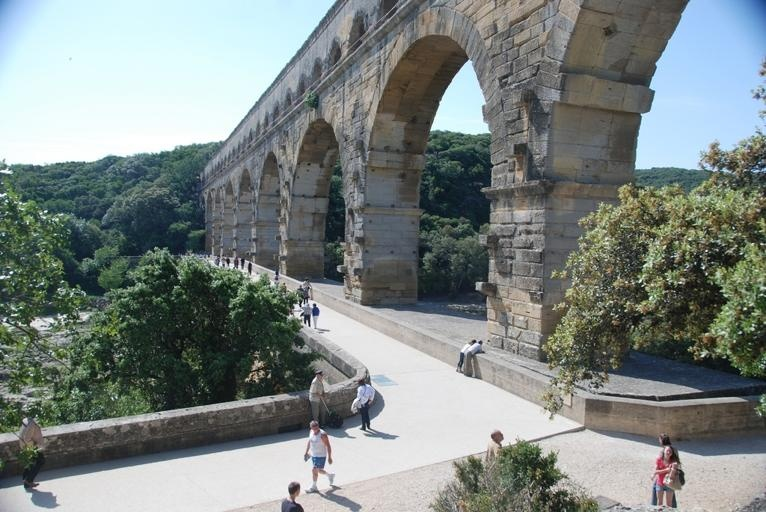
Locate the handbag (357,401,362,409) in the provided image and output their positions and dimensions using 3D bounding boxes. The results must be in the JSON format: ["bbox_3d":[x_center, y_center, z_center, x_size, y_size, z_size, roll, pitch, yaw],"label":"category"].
[{"bbox_3d":[-0.475,2.893,11.817,0.066,0.115,0.177,2,0,-8],"label":"handbag"}]

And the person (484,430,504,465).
[{"bbox_3d":[1.625,2.801,9.005,0.212,0.420,0.979,2,0,11],"label":"person"}]

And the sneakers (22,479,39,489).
[{"bbox_3d":[-5.654,3.706,9.889,0.270,0.105,0.097,9,14,-35],"label":"sneakers"}]

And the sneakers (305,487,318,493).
[{"bbox_3d":[-1.141,3.768,9.824,0.161,0.068,0.088,7,-11,-12],"label":"sneakers"}]

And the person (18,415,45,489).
[{"bbox_3d":[-5.720,3.216,9.984,0.380,0.844,0.595,2,0,-29],"label":"person"}]

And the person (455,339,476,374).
[{"bbox_3d":[1.925,2.361,14.424,0.230,0.792,0.379,14,9,-38],"label":"person"}]

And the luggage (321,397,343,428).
[{"bbox_3d":[-1.008,3.117,12.061,0.519,0.513,0.376,-3,0,41],"label":"luggage"}]

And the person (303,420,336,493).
[{"bbox_3d":[-1.066,3.267,10.209,0.490,1.002,0.799,2,0,-6],"label":"person"}]

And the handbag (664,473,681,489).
[{"bbox_3d":[4.205,3.312,8.926,0.245,0.234,0.062,2,0,7],"label":"handbag"}]

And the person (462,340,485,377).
[{"bbox_3d":[2.094,2.405,14.179,0.442,0.776,0.409,2,0,-14],"label":"person"}]

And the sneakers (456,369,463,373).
[{"bbox_3d":[1.771,2.690,14.333,0.081,0.101,0.262,2,0,-29],"label":"sneakers"}]

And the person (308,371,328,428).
[{"bbox_3d":[-1.253,2.739,11.956,0.365,0.897,0.697,2,0,-2],"label":"person"}]

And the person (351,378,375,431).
[{"bbox_3d":[-0.425,2.879,12.091,0.415,0.913,0.946,2,0,-1],"label":"person"}]
